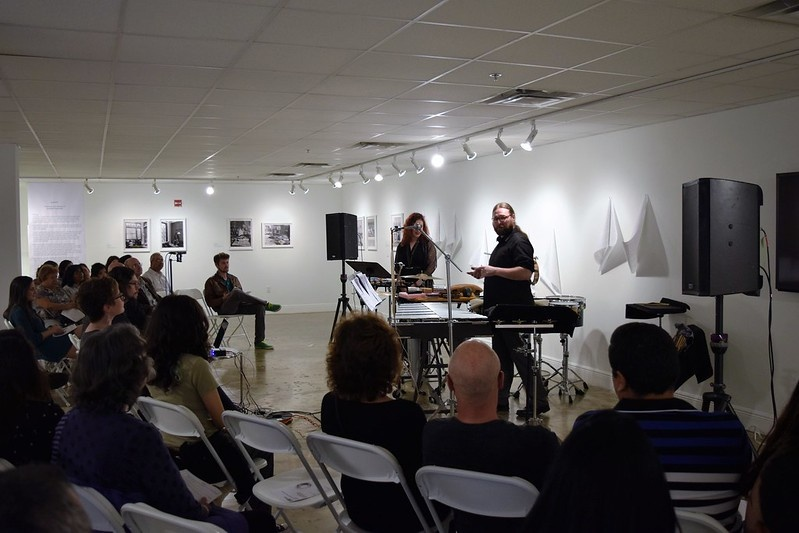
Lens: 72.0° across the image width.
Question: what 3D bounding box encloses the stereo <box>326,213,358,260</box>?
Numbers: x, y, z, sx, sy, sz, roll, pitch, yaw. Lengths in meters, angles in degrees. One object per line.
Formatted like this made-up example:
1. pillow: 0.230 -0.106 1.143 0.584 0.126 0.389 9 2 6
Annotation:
1. stereo: -0.964 -0.492 9.366 0.479 0.825 0.483 -7 -10 27

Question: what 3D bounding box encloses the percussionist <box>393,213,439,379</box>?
1. percussionist: 0.234 0.402 7.560 0.664 2.239 0.792 0 4 32

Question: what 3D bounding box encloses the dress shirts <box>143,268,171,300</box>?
1. dress shirts: -3.979 0.289 8.986 0.253 0.462 0.460 -5 3 9

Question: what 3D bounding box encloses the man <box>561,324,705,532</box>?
1. man: 1.114 0.698 2.517 0.719 0.651 0.377 -4 11 -11

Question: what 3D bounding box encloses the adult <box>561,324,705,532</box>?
1. adult: 1.096 0.691 2.484 0.719 0.651 0.377 -4 11 -11

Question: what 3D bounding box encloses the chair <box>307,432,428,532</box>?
1. chair: -0.155 1.102 2.748 0.598 0.565 0.325 2 2 28

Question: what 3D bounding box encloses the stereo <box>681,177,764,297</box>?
1. stereo: 2.679 -0.233 4.529 0.747 0.920 0.266 0 2 -21

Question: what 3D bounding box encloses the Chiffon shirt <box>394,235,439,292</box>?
1. Chiffon shirt: 0.217 -0.007 7.723 0.613 0.799 0.489 6 -6 12
